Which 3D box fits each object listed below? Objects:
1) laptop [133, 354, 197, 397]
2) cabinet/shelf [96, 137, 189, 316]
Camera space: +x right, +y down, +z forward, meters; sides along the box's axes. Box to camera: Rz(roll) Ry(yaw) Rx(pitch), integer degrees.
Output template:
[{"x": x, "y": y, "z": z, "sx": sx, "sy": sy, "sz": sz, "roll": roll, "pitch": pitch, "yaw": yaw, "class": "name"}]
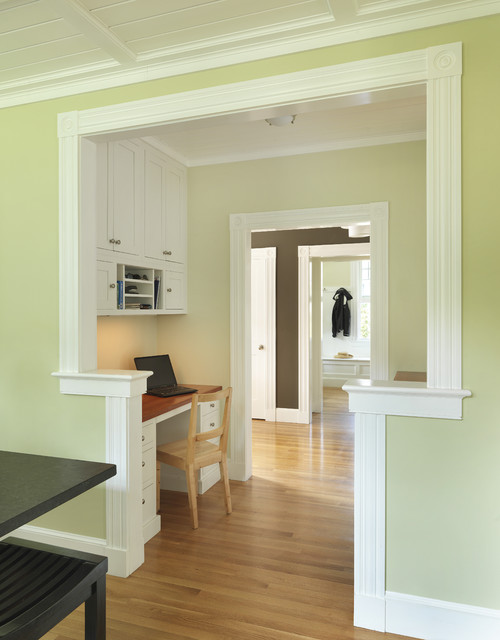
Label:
[{"x": -0.609, "y": 0.412, "z": 4.058, "sx": 0.384, "sy": 0.231, "sz": 0.432, "roll": 7, "pitch": 5, "yaw": 43, "class": "laptop"}, {"x": -0.745, "y": -0.643, "z": 3.696, "sx": 0.468, "sy": 1.148, "sz": 1.270, "roll": -1, "pitch": -1, "yaw": 13, "class": "cabinet/shelf"}]
